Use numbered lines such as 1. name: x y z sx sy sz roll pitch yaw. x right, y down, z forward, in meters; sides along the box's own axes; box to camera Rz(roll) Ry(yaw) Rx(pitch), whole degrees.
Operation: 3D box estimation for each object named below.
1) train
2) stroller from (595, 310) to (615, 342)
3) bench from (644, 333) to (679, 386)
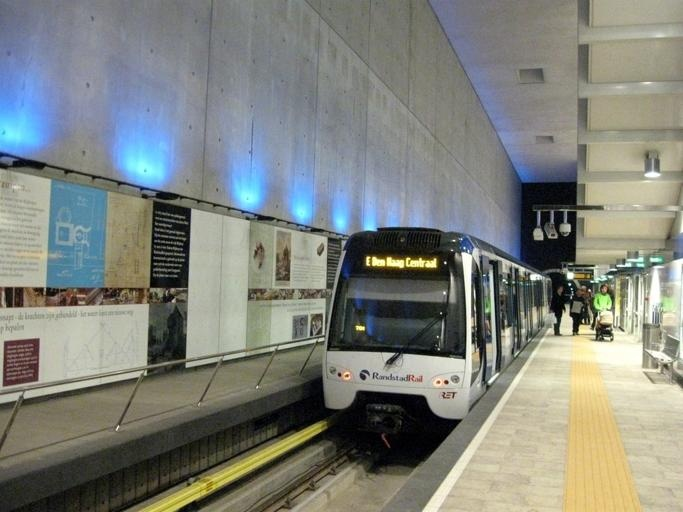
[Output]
1. train: 2.365 1.222 10.627 2.001 3.245 6.173 -1 -4 35
2. stroller: 10.016 2.682 20.279 0.526 1.167 0.476 0 -3 18
3. bench: 7.248 2.404 12.057 0.324 0.630 1.049 0 -4 15
